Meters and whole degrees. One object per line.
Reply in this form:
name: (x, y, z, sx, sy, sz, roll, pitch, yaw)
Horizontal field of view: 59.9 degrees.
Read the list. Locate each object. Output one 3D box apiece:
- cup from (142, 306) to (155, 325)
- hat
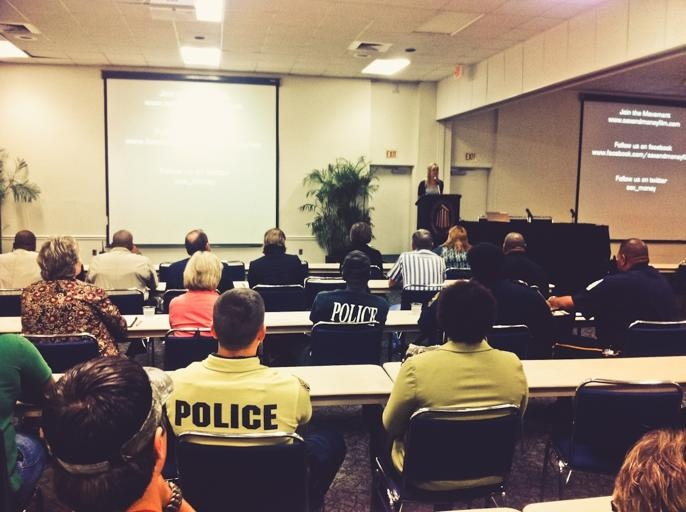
cup: (-1.509, 0.460, 4.611, 0.092, 0.121, 0.117, 1, -6, 0)
hat: (-0.820, 0.579, 2.241, 0.242, 0.385, 0.435, 4, 9, 37)
